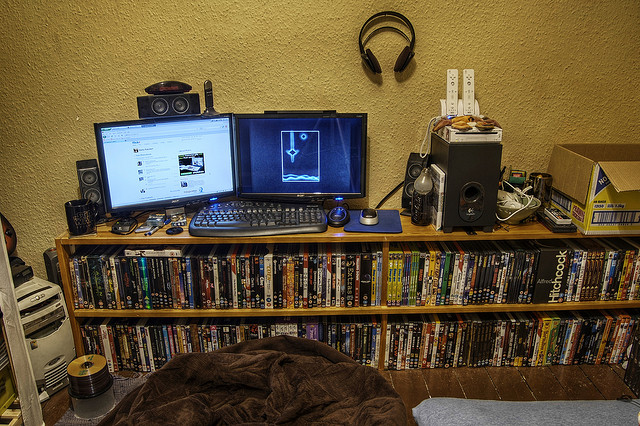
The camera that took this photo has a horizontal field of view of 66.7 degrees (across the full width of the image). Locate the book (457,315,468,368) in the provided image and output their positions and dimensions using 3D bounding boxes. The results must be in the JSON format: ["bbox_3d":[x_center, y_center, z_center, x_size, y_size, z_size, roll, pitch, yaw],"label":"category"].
[{"bbox_3d":[0.852,0.776,2.930,0.042,0.311,0.066,4,15,18],"label":"book"}]

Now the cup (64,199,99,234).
[{"bbox_3d":[-1.364,0.020,2.787,0.211,0.174,0.153,-4,15,-13],"label":"cup"}]

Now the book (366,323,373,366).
[{"bbox_3d":[0.288,0.783,2.901,0.036,0.269,0.027,0,15,6],"label":"book"}]

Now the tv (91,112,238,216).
[{"bbox_3d":[-0.895,-0.291,2.793,0.637,0.416,0.073,-6,19,-13],"label":"tv"}]

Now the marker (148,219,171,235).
[{"bbox_3d":[-0.933,0.075,2.822,0.153,0.018,0.030,-40,3,-35],"label":"marker"}]

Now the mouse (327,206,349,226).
[{"bbox_3d":[0.099,0.016,2.841,0.115,0.092,0.108,-2,14,-2],"label":"mouse"}]

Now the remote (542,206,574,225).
[{"bbox_3d":[1.374,0.017,2.804,0.089,0.026,0.126,-3,27,-8],"label":"remote"}]

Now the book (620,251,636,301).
[{"bbox_3d":[1.780,0.364,2.832,0.047,0.307,0.009,-3,15,-5],"label":"book"}]

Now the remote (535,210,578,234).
[{"bbox_3d":[1.352,0.050,2.772,0.139,0.031,0.132,4,29,5],"label":"remote"}]

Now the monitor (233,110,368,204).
[{"bbox_3d":[-0.126,-0.329,2.869,0.773,0.537,0.036,0,15,3],"label":"monitor"}]

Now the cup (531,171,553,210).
[{"bbox_3d":[1.343,-0.143,2.952,0.133,0.205,0.195,-1,14,2],"label":"cup"}]

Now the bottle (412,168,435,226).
[{"bbox_3d":[0.588,-0.090,2.802,0.104,0.324,0.077,-11,18,-34],"label":"bottle"}]

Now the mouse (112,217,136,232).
[{"bbox_3d":[-1.131,0.060,2.809,0.112,0.058,0.133,0,13,4],"label":"mouse"}]
